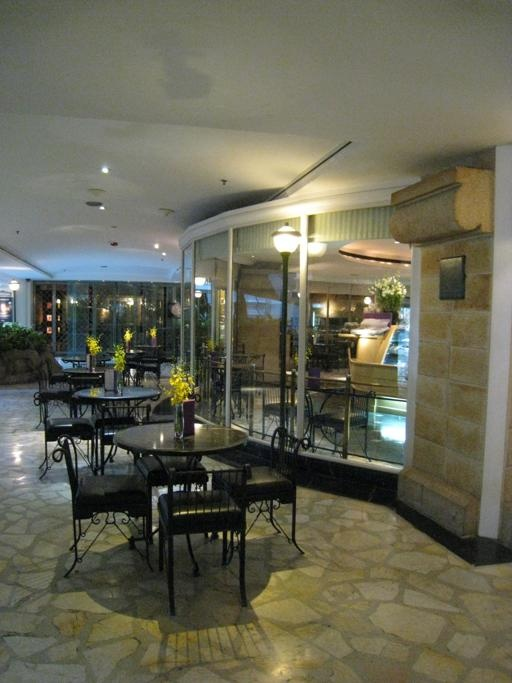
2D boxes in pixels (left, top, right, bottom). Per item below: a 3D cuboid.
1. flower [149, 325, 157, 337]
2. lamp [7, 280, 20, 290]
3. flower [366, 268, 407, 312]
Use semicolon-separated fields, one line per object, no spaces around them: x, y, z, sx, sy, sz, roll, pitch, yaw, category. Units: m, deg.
-3.548;-0.324;18.717;0.258;0.375;1.276;1;2;-11;flower
-7.535;-1.733;16.899;0.428;0.417;0.413;-4;9;-20;lamp
1.901;-0.679;7.795;0.426;0.545;0.472;2;3;17;flower
